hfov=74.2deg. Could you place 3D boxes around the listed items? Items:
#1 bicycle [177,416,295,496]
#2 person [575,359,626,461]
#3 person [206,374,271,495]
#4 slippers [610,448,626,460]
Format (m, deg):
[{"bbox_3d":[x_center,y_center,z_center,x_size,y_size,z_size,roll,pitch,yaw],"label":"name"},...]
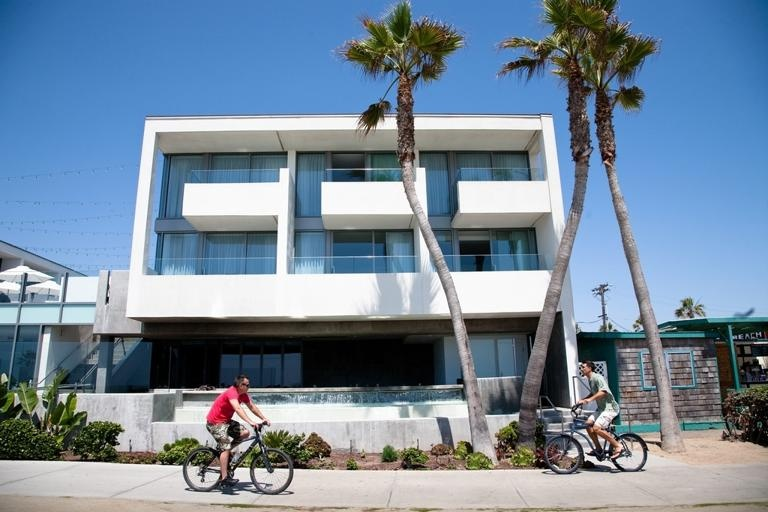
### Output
[{"bbox_3d":[-3.433,4.730,11.872,2.604,1.531,1.208,0,-14,3],"label":"bicycle"},{"bbox_3d":[5.594,4.016,13.223,0.875,2.468,1.084,-8,-15,22],"label":"person"},{"bbox_3d":[-3.453,4.046,11.741,1.104,2.409,0.612,-8,-15,22],"label":"person"},{"bbox_3d":[5.987,5.090,13.032,0.185,0.192,0.489,6,-6,6],"label":"slippers"}]
